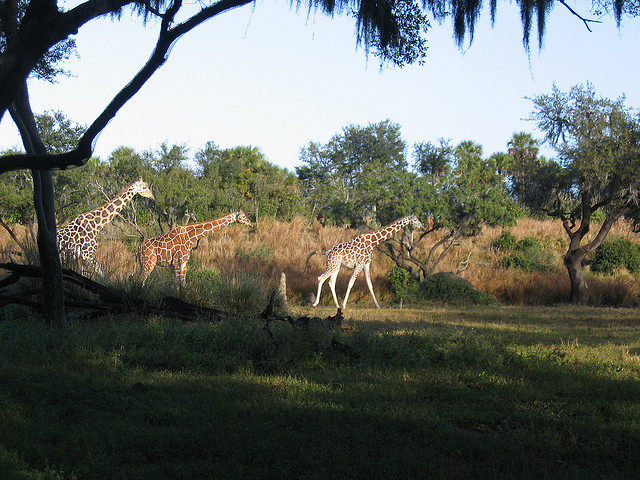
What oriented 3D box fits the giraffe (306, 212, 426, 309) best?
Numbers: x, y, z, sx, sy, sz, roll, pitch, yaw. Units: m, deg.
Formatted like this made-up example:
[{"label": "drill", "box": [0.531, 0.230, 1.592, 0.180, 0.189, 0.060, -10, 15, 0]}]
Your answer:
[{"label": "giraffe", "box": [1.141, 0.604, 21.491, 1.921, 2.639, 2.909, 12, 16, 39]}]
